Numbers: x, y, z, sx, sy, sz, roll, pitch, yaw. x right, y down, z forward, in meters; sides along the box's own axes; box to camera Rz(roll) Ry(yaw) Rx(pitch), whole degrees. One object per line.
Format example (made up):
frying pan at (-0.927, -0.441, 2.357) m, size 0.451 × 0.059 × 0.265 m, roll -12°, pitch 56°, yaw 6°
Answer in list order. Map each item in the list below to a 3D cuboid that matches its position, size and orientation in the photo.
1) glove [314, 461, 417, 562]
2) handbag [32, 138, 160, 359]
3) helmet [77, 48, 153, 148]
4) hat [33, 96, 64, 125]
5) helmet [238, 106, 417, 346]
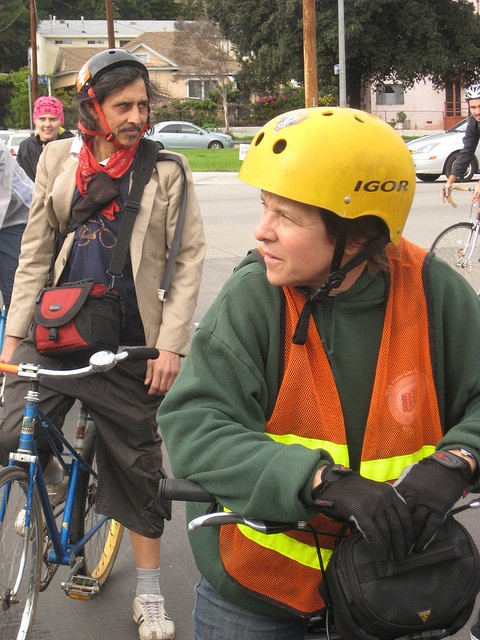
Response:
glove at (0.191, 0.296, 1.141) m, size 0.112 × 0.070 × 0.145 m, roll -25°, pitch 63°, yaw -40°
handbag at (-0.522, -0.291, 2.692) m, size 0.252 × 0.838 × 0.540 m, roll 7°, pitch 9°, yaw 39°
helmet at (-0.504, -0.872, 2.776) m, size 0.286 × 0.386 × 0.181 m, roll 1°, pitch 7°, yaw -9°
hat at (-2.056, -2.229, 7.485) m, size 0.296 × 0.297 × 0.292 m, roll 1°, pitch 28°, yaw -6°
helmet at (0.149, -0.223, 1.533) m, size 0.385 × 0.463 × 0.379 m, roll 7°, pitch 21°, yaw 9°
